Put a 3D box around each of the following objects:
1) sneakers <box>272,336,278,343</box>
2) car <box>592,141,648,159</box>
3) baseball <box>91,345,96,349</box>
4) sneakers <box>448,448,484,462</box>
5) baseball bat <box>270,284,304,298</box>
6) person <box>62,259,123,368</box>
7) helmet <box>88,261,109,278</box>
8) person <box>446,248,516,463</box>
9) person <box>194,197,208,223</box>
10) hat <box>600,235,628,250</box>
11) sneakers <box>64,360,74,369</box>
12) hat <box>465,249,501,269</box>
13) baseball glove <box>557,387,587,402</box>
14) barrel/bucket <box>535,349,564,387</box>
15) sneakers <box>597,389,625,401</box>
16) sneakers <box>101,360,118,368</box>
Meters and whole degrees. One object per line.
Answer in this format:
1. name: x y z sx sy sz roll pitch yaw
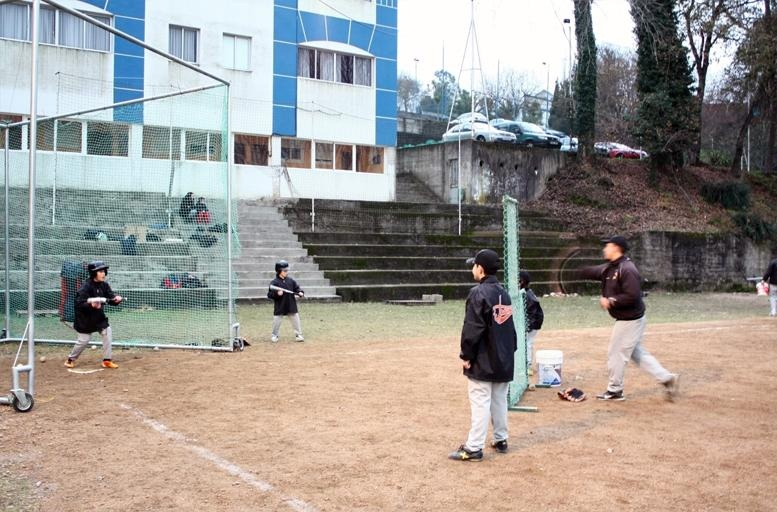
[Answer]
1. sneakers: -2.754 1.986 21.204 0.099 0.118 0.169 -1 -6 3
2. car: 12.076 -5.492 46.274 2.077 0.993 4.537 -1 2 27
3. baseball: -6.861 2.094 20.533 0.079 0.046 0.082 2 0 -4
4. sneakers: 1.313 3.372 15.241 0.566 0.262 0.228 2 -4 4
5. baseball bat: -2.498 0.836 21.217 0.589 0.183 0.144 19 5 -19
6. person: -6.321 1.243 18.934 1.132 2.246 0.808 -3 3 -18
7. helmet: -6.192 0.295 18.919 0.350 0.346 0.337 -1 3 11
8. person: 1.639 1.686 15.408 1.161 3.551 0.685 -4 3 -29
9. person: -4.494 -1.070 21.161 0.337 0.594 0.724 -3 2 -12
10. hat: 4.417 -0.272 17.244 0.374 0.219 0.276 11 -2 17
11. sneakers: -6.815 2.292 18.855 0.118 0.144 0.298 4 -2 -40
12. hat: 1.638 0.043 15.532 0.527 0.299 0.383 3 -1 33
13. baseball glove: 3.558 2.686 17.307 0.543 0.234 0.382 -2 2 16
14. barrel/bucket: 3.266 2.242 18.094 0.628 0.667 0.654 -2 3 0
15. sneakers: 4.331 2.693 17.280 0.486 0.238 0.216 3 -4 10
16. sneakers: -5.949 2.285 18.818 0.356 0.163 0.145 2 8 -8
